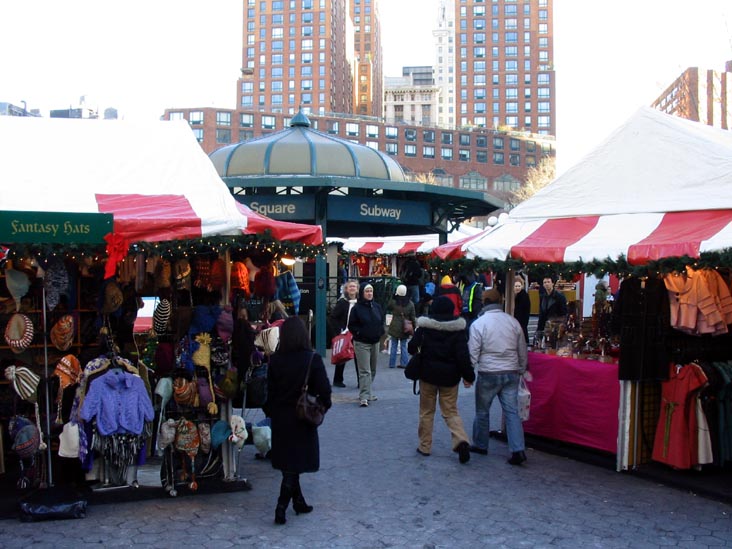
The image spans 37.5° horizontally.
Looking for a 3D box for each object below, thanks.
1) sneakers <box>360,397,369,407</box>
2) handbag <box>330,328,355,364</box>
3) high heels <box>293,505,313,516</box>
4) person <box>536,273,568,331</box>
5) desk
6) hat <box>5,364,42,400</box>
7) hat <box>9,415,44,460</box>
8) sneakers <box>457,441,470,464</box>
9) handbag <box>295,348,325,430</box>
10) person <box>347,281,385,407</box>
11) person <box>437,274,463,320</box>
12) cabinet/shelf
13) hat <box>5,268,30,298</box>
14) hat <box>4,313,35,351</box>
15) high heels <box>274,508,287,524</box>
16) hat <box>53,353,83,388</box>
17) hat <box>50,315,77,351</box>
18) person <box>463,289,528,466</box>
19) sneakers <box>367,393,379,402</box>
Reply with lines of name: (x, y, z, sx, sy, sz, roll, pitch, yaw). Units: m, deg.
sneakers: (-0.030, 2.046, 17.244, 0.127, 0.128, 0.172, 1, 9, -1)
handbag: (-0.390, 1.205, 17.327, 0.202, 0.535, 0.507, 19, -29, -34)
high heels: (-0.719, 2.659, 12.167, 0.254, 0.127, 0.085, -6, 11, -17)
person: (3.433, 0.546, 19.891, 0.480, 1.211, 1.514, 2, 9, 9)
desk: (2.889, 1.673, 14.961, 1.716, 1.206, 1.018, 7, 9, 39)
hat: (-3.985, 1.255, 12.554, 0.422, 0.333, 0.125, 42, -32, -12)
hat: (-3.903, 1.889, 12.386, 0.319, 0.281, 0.447, -15, 9, -34)
sneakers: (1.260, 2.289, 13.927, 0.126, 0.304, 0.128, -5, -2, 5)
handbag: (-0.633, 1.287, 11.932, 0.257, 1.047, 0.461, -20, -34, 30)
person: (-0.001, 1.160, 17.517, 0.548, 2.009, 0.978, 1, 9, 2)
person: (1.486, 0.396, 19.062, 0.600, 0.831, 0.367, 2, 18, 12)
cabinet/shelf: (-3.784, 0.520, 13.478, 0.912, 1.217, 0.616, 7, -7, -23)
hat: (-4.125, 0.130, 12.769, 0.265, 0.407, 0.188, -2, 9, -20)
hat: (-4.177, 0.709, 12.967, 0.311, 0.480, 0.403, -3, 10, -21)
high heels: (-0.948, 2.674, 11.897, 0.147, 0.194, 0.096, 3, 13, 3)
hat: (-3.484, 1.143, 12.647, 0.354, 0.366, 0.140, 16, -12, -31)
hat: (-3.713, 0.739, 13.178, 0.263, 0.483, 0.293, -3, 10, -22)
person: (1.763, 1.353, 14.264, 0.935, 2.190, 0.765, 5, 10, 26)
sneakers: (0.103, 2.027, 17.743, 0.168, 0.072, 0.232, 2, 6, 4)
